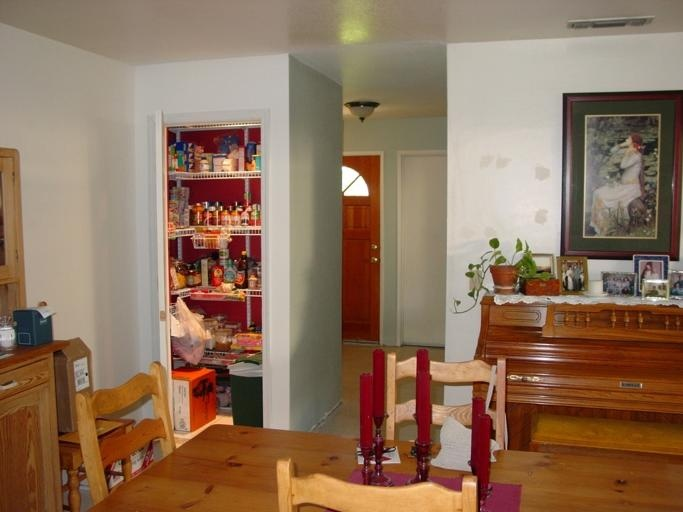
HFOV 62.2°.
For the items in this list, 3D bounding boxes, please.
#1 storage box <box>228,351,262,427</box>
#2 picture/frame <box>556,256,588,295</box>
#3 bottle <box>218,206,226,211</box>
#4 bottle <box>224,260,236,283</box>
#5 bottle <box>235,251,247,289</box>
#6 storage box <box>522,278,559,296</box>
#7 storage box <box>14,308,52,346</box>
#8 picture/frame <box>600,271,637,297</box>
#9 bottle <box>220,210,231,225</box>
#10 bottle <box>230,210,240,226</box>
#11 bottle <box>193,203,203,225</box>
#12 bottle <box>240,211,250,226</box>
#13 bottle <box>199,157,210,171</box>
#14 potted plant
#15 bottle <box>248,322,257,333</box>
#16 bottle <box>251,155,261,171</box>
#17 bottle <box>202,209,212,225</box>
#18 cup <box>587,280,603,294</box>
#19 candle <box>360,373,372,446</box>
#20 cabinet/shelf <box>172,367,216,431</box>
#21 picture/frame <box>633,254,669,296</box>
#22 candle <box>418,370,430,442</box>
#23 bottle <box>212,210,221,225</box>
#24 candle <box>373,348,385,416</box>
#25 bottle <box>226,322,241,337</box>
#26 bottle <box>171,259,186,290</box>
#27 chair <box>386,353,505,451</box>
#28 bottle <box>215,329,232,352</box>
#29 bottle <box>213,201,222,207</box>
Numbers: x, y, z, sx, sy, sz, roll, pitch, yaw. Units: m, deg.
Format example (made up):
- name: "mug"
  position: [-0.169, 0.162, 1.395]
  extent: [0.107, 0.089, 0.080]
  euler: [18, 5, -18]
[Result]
- name: "storage box"
  position: [-0.718, 1.049, 4.380]
  extent: [0.265, 0.474, 0.206]
  euler: [-1, 5, 8]
- name: "picture/frame"
  position: [1.457, 0.133, 3.610]
  extent: [0.224, 0.299, 0.031]
  euler: [0, -6, 5]
- name: "bottle"
  position: [-0.960, -0.376, 4.572]
  extent: [0.041, 0.030, 0.041]
  euler: [1, 2, 0]
- name: "bottle"
  position: [-0.916, 0.125, 4.688]
  extent: [0.107, 0.189, 0.139]
  euler: [-3, 5, -10]
- name: "bottle"
  position: [-0.818, 0.122, 4.643]
  extent: [0.100, 0.265, 0.184]
  euler: [-2, 5, -6]
- name: "storage box"
  position: [1.230, 0.194, 3.531]
  extent: [0.204, 0.106, 0.085]
  euler: [0, 5, 18]
- name: "storage box"
  position: [-1.756, 0.395, 3.280]
  extent: [0.159, 0.196, 0.205]
  euler: [0, 7, 4]
- name: "picture/frame"
  position: [1.718, 0.181, 3.542]
  extent: [0.155, 0.135, 0.025]
  euler: [0, -2, 21]
- name: "bottle"
  position: [-0.929, -0.305, 4.540]
  extent: [0.085, 0.118, 0.037]
  euler: [0, 5, 15]
- name: "bottle"
  position: [-0.853, -0.305, 4.542]
  extent: [0.074, 0.118, 0.022]
  euler: [-1, 5, 7]
- name: "bottle"
  position: [-1.163, -0.341, 4.653]
  extent: [0.092, 0.174, 0.075]
  euler: [2, 6, 39]
- name: "bottle"
  position: [-0.772, -0.302, 4.539]
  extent: [0.080, 0.102, 0.031]
  euler: [-2, 5, -2]
- name: "bottle"
  position: [-1.094, -0.741, 4.565]
  extent: [0.092, 0.132, 0.074]
  euler: [-3, 5, -14]
- name: "potted plant"
  position: [1.066, 0.130, 3.757]
  extent: [0.373, 0.293, 0.558]
  euler: [2, -8, -30]
- name: "bottle"
  position: [-0.749, 0.610, 4.846]
  extent: [0.066, 0.116, 0.066]
  euler: [0, 11, 0]
- name: "bottle"
  position: [-0.669, -0.714, 4.409]
  extent: [0.041, 0.120, 0.166]
  euler: [-4, 5, -24]
- name: "bottle"
  position: [-1.090, -0.313, 4.616]
  extent: [0.046, 0.124, 0.101]
  euler: [-5, 6, -33]
- name: "cup"
  position: [1.596, 0.198, 3.611]
  extent: [0.083, 0.083, 0.081]
  euler: [0, -2, 0]
- name: "candle"
  position: [0.087, 0.524, 1.959]
  extent: [0.037, 0.255, 0.116]
  euler: [-1, 5, 7]
- name: "cabinet/shelf"
  position: [-1.200, 1.156, 4.580]
  extent: [0.265, 0.357, 0.367]
  euler: [-3, -1, 21]
- name: "picture/frame"
  position: [1.896, 0.129, 3.499]
  extent: [0.230, 0.320, 0.024]
  euler: [1, -7, 14]
- name: "candle"
  position: [0.278, 0.517, 1.950]
  extent: [0.045, 0.240, 0.115]
  euler: [-1, 5, 7]
- name: "bottle"
  position: [-1.013, -0.311, 4.580]
  extent: [0.074, 0.113, 0.020]
  euler: [2, 6, 33]
- name: "candle"
  position: [0.134, 0.461, 2.085]
  extent: [0.041, 0.235, 0.138]
  euler: [-1, 5, 4]
- name: "bottle"
  position: [-0.924, 0.634, 4.876]
  extent: [0.094, 0.083, 0.095]
  euler: [4, 6, 25]
- name: "bottle"
  position: [-1.328, 0.145, 4.553]
  extent: [0.096, 0.243, 0.280]
  euler: [-1, 5, 3]
- name: "chair"
  position: [0.516, 0.827, 2.795]
  extent: [0.389, 0.658, 0.373]
  euler: [6, -12, 15]
- name: "bottle"
  position: [-0.986, 0.698, 4.737]
  extent: [0.154, 0.163, 0.154]
  euler: [3, -2, -32]
- name: "bottle"
  position: [-1.026, -0.425, 4.661]
  extent: [0.078, 0.059, 0.079]
  euler: [1, 4, 0]
